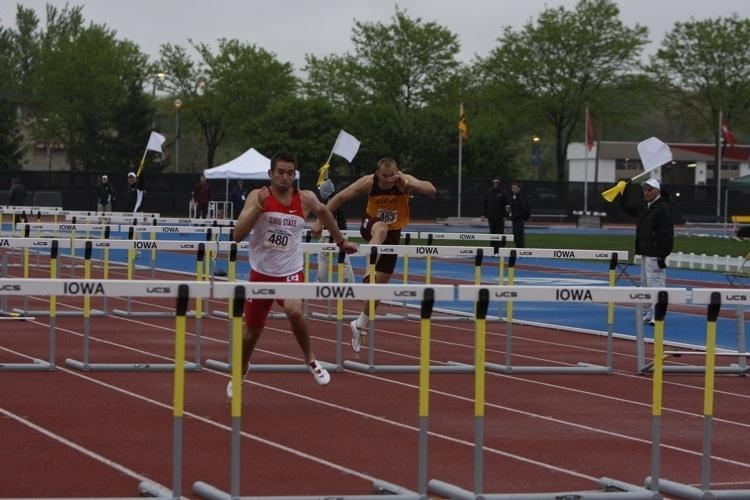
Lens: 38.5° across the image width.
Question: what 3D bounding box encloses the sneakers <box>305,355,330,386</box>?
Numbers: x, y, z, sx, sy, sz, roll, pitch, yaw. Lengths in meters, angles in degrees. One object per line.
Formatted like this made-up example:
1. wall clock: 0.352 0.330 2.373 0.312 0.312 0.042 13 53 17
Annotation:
1. sneakers: -0.753 1.499 13.611 0.179 0.197 0.513 -31 46 -9

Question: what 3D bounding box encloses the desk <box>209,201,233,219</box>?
1. desk: -5.851 -1.513 40.761 0.981 0.636 0.936 1 0 -6
